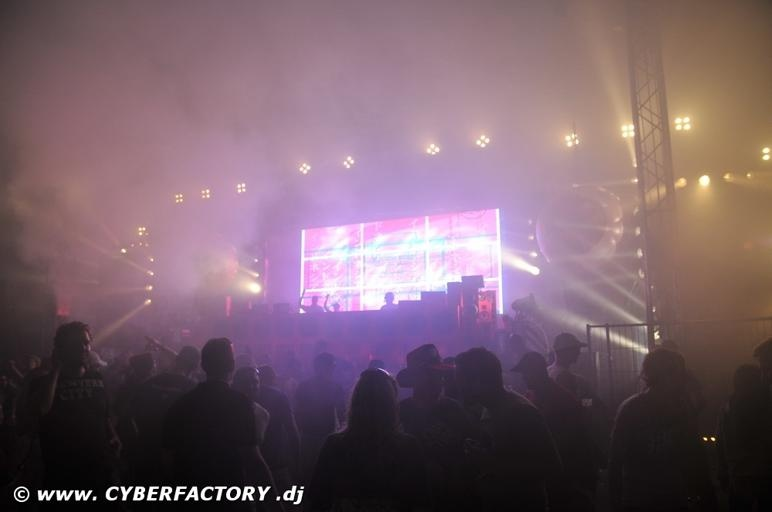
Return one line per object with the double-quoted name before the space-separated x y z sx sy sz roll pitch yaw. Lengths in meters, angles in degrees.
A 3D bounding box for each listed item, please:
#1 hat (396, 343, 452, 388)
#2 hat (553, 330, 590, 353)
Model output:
"hat" 0.631 1.792 11.168 0.849 0.366 0.731 -22 -16 19
"hat" 3.310 1.556 12.211 0.470 0.271 0.308 -11 0 11
